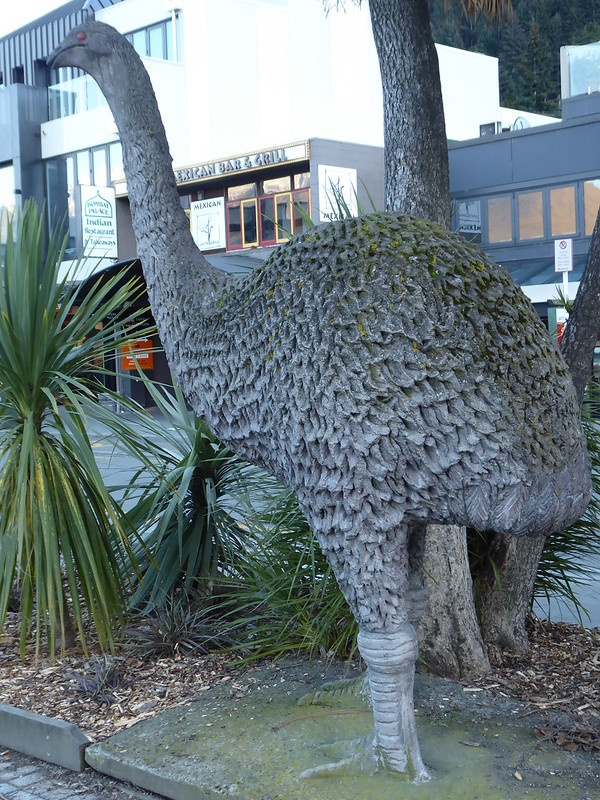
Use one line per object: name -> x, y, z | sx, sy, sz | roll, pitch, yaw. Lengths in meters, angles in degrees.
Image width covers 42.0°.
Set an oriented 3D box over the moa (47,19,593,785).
moa -> 0.071, 0.065, 2.281 | 1.352, 2.034, 0.500 | 1, 7, 38
